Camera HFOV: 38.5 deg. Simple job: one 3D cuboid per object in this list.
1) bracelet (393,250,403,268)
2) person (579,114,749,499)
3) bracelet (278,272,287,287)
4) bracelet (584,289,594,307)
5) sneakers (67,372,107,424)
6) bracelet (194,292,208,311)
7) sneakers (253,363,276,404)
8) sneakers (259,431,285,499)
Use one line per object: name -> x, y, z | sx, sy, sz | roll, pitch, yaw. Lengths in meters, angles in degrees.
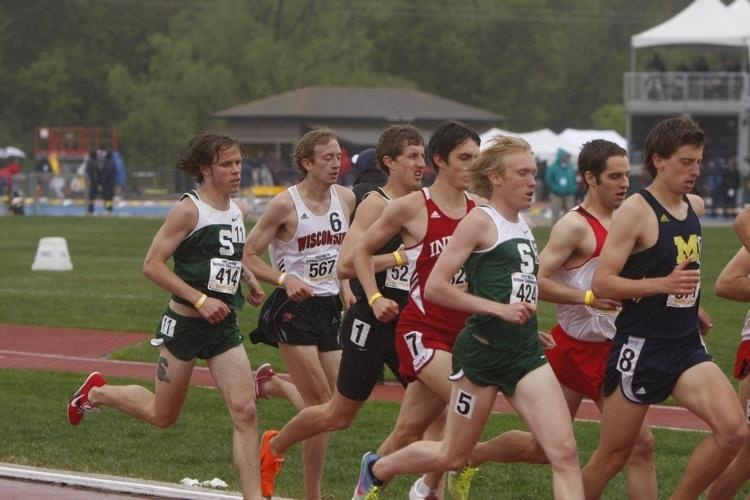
bracelet -> 0.211, 0.071, 9.637 | 0.040, 0.107, 0.108 | -12, 5, 26
person -> 2.406, 0.538, 8.943 | 1.191, 3.167, 0.564 | 3, 9, 10
bracelet -> -0.849, 0.272, 9.886 | 0.100, 0.097, 0.104 | 12, 1, -35
bracelet -> 1.825, 0.414, 9.177 | 0.039, 0.107, 0.108 | 15, 31, -8
sneakers -> -2.884, 1.502, 10.777 | 0.258, 0.614, 0.205 | 30, 7, 17
bracelet -> -1.518, 0.450, 9.368 | 0.031, 0.112, 0.115 | 39, -24, -7
sneakers -> -1.132, 1.284, 10.638 | 0.173, 0.418, 0.142 | 19, 7, 27
sneakers -> -0.984, 1.949, 9.855 | 0.199, 0.601, 0.248 | 3, -3, -42
